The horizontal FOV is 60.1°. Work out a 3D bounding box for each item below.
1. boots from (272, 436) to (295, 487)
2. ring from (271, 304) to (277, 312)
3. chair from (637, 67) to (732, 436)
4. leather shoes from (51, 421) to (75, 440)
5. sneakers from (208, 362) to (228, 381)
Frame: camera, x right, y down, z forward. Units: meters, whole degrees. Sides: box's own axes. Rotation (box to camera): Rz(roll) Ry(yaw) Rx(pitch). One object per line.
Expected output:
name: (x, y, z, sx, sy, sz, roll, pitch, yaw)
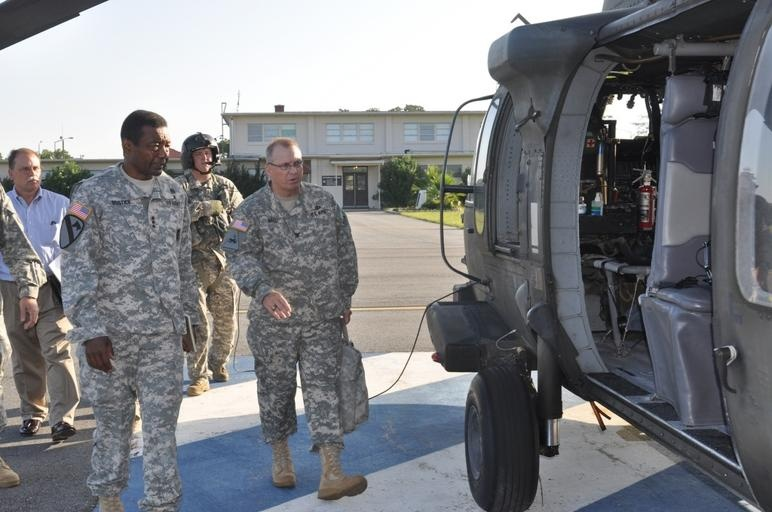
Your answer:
boots: (-0.738, 1.451, 4.721, 0.165, 0.297, 0.454, -2, -3, -14)
ring: (-0.693, 0.316, 4.118, 0.042, 0.037, 0.010, 7, 4, 12)
chair: (1.652, -0.063, 3.648, 0.448, 1.832, 0.752, 4, 14, 21)
leather shoes: (-2.606, 1.400, 5.366, 0.099, 0.107, 0.229, -8, -19, -44)
sneakers: (-1.711, 1.170, 6.791, 0.201, 0.171, 0.144, -1, 5, -9)
